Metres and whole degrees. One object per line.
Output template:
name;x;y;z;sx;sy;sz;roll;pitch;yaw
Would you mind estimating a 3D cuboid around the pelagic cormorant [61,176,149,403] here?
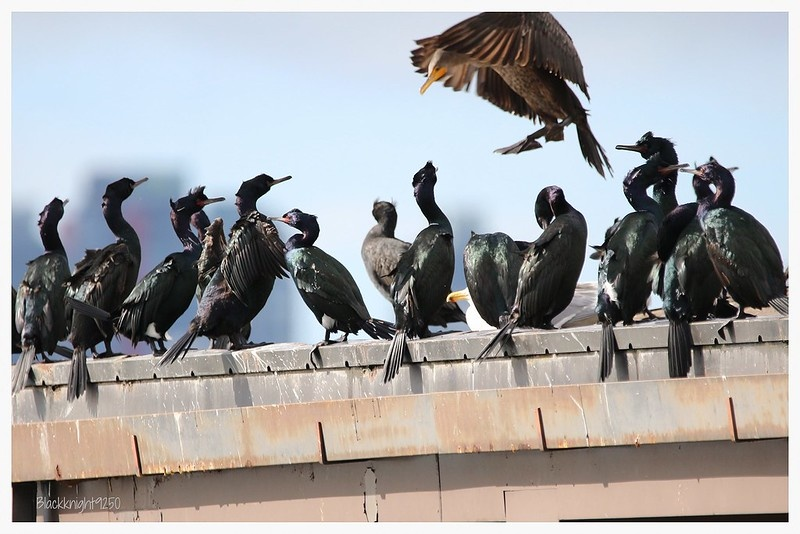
pelagic cormorant;-3.284;0.199;19.453;1.573;2.250;0.721;-14;9;-35
